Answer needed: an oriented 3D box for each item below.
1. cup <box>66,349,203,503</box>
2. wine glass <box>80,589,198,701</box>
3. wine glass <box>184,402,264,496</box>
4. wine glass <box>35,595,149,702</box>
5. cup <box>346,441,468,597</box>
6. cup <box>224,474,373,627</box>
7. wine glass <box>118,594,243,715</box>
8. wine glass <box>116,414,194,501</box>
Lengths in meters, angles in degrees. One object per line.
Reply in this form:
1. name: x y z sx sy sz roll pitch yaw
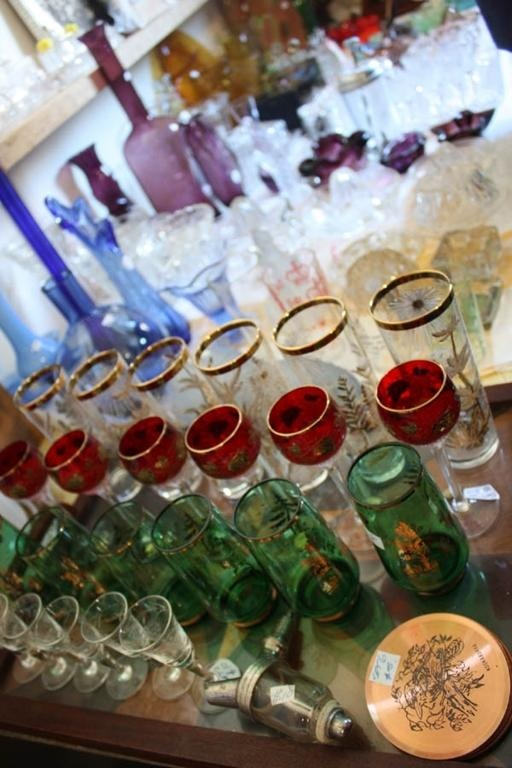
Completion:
1. cup: -0.194 0.065 0.933 0.145 0.248 0.150 -41 16 15
2. wine glass: -0.159 0.322 0.726 0.061 0.103 0.105 10 26 -10
3. wine glass: -0.055 0.117 0.788 0.095 0.136 0.096 -2 29 11
4. wine glass: -0.234 0.364 0.800 0.078 0.163 0.075 -49 25 3
5. cup: 0.165 0.152 0.609 0.089 0.178 0.088 -20 33 14
6. cup: 0.045 0.188 0.656 0.089 0.150 0.097 -20 33 14
7. wine glass: -0.080 0.293 0.646 0.167 0.075 0.080 9 4 38
8. wine glass: -0.154 0.110 0.898 0.087 0.131 0.082 27 77 45
